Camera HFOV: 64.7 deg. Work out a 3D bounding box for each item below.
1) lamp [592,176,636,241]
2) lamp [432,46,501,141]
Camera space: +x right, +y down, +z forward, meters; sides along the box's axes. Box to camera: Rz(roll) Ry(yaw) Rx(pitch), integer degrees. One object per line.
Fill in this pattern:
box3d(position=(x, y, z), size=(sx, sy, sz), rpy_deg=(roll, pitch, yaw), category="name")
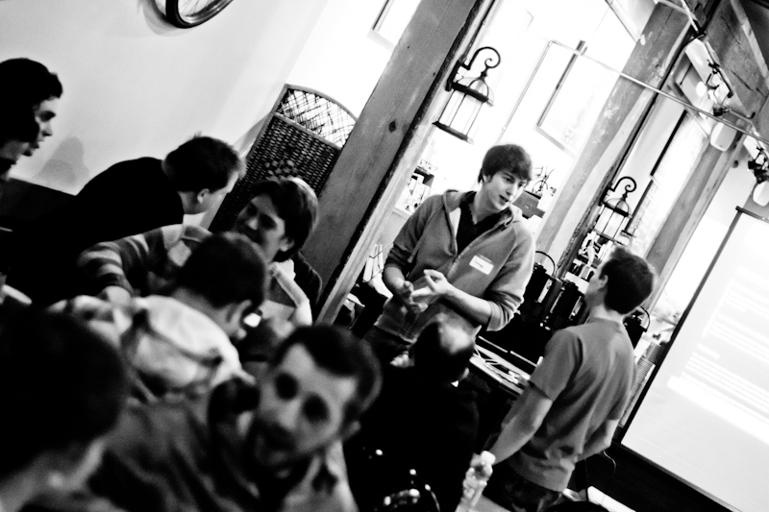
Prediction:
box3d(position=(1.969, -0.434, 5.138), size=(0.297, 0.565, 0.276), rpy_deg=(32, 11, 30), category="lamp")
box3d(position=(0.324, -0.624, 2.284), size=(0.186, 0.371, 0.184), rpy_deg=(28, 0, 17), category="lamp")
